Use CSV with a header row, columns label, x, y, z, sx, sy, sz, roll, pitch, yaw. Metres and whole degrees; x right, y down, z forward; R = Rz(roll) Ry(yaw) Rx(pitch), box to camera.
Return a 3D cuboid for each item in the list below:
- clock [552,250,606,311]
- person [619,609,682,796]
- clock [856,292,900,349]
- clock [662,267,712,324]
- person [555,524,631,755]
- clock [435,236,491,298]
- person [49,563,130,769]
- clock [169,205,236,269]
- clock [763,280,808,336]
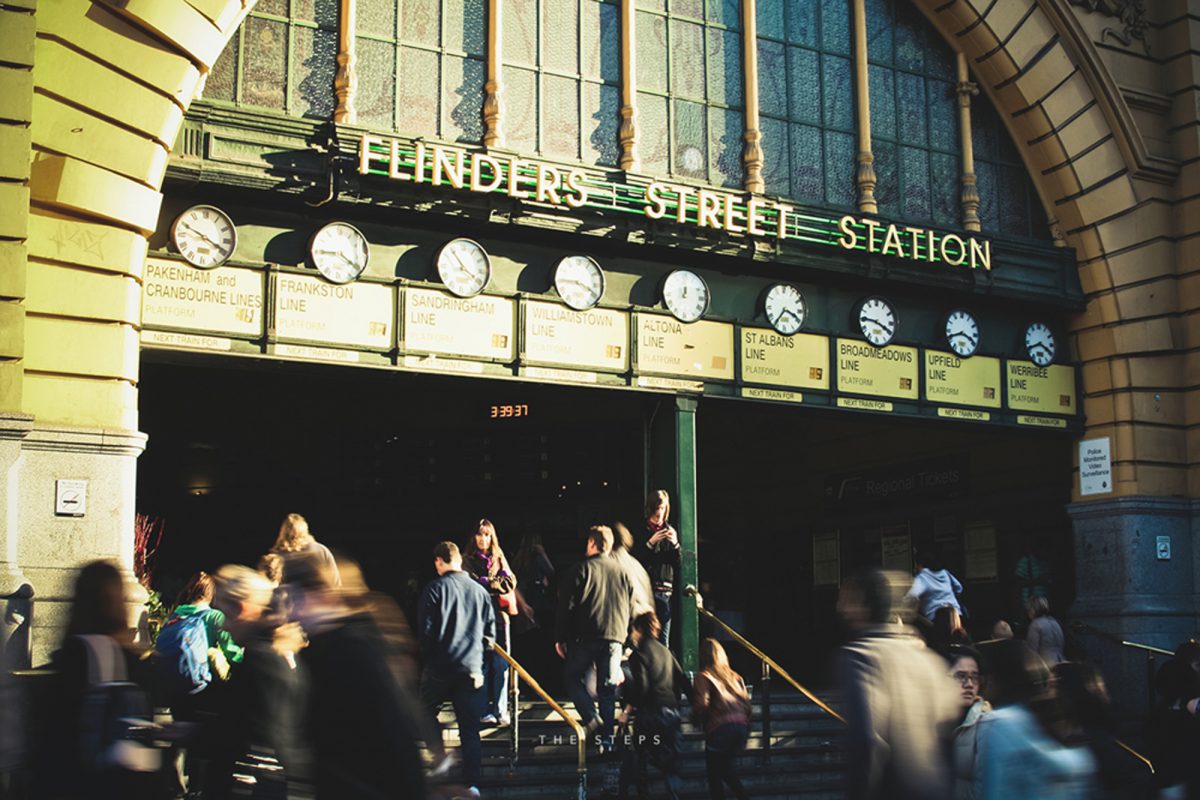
label,x,y,z,sx,sy,sz,roll,pitch,yaw
clock,-0.422,-1.879,31.460,0.996,0.986,0.153,5,-10,-28
person,0.666,4.139,26.310,0.808,2.446,0.862,0,-12,-5
clock,4.604,-1.329,33.497,0.949,1.013,0.204,6,-17,-34
clock,1.352,-1.697,32.223,0.932,0.874,0.144,12,18,41
person,-0.103,3.328,27.046,1.055,3.097,0.594,-1,-12,0
clock,-2.210,-2.055,30.721,1.026,1.051,0.152,-2,-7,-30
person,-5.585,2.947,21.532,0.820,2.268,0.402,-1,-12,-4
clock,-5.958,-2.405,29.293,1.003,1.034,0.160,-3,-9,-36
clock,2.981,-1.505,32.815,0.985,1.012,0.161,2,-13,-33
